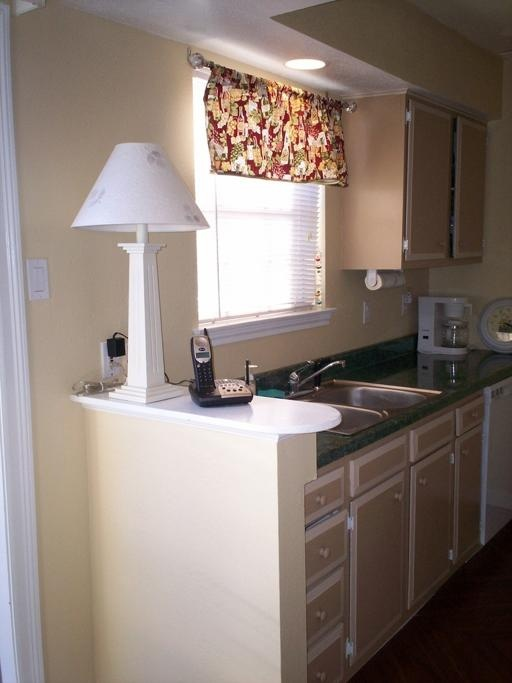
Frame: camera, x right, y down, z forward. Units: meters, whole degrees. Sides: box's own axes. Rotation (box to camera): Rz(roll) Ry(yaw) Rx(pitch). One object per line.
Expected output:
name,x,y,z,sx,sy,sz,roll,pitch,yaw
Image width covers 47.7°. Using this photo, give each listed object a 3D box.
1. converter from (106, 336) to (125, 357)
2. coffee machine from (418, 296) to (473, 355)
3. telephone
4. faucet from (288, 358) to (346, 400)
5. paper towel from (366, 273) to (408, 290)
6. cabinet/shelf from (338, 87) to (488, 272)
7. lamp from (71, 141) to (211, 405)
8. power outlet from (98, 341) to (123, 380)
converter,-0.398,0.012,1.642,0.025,0.049,0.049,-3,7,17
coffee machine,1.091,-0.114,3.341,0.263,0.330,0.254,6,13,33
telephone,-0.105,0.061,1.369,0.140,0.176,0.146,-4,-5,-36
faucet,0.242,0.136,2.290,0.197,0.131,0.142,1,7,22
paper towel,0.656,-0.322,2.890,0.081,0.138,0.322,9,13,37
cabinet/shelf,0.861,-0.770,2.973,0.329,0.788,0.938,6,12,44
lamp,-0.268,-0.165,1.429,0.322,0.620,0.333,-1,6,-7
power outlet,-0.412,0.048,1.637,0.011,0.113,0.093,5,9,24
